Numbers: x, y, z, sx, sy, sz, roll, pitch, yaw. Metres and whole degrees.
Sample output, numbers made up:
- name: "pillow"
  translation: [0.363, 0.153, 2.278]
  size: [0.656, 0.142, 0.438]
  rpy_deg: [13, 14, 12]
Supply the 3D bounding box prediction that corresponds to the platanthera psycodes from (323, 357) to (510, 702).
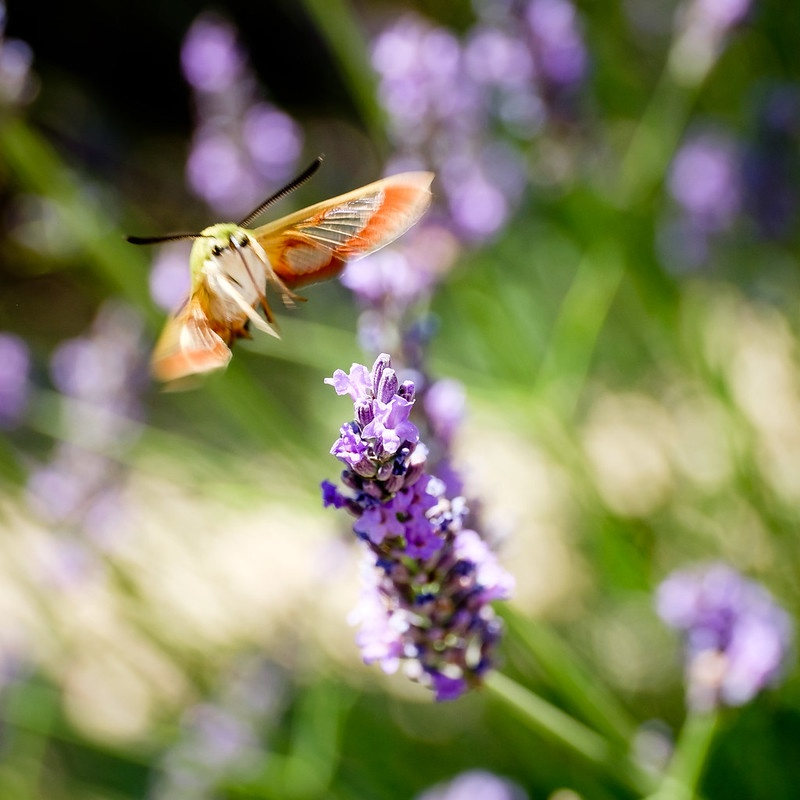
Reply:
- name: "platanthera psycodes"
  translation: [0.026, 0.193, 1.363]
  size: [0.236, 0.413, 0.372]
  rpy_deg: [-14, 63, -6]
